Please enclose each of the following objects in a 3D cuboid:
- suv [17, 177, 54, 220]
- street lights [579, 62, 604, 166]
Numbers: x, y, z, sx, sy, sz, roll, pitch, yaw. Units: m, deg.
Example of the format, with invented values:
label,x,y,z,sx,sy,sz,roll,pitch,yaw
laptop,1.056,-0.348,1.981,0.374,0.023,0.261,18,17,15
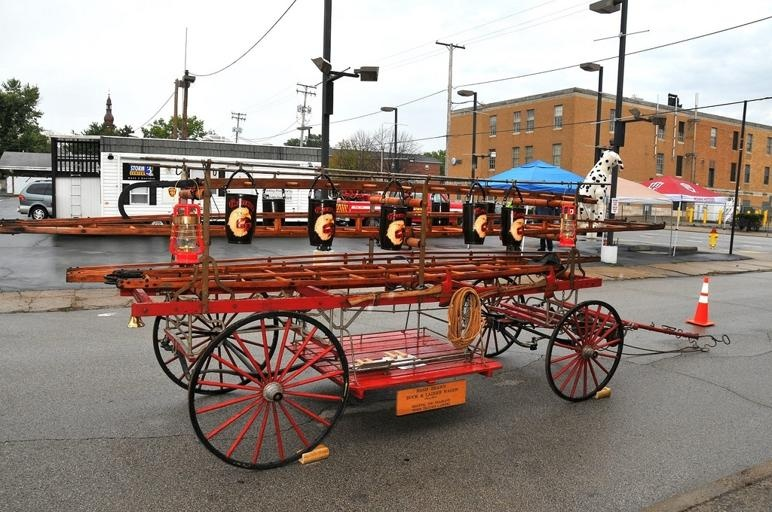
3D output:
label,x,y,z,sx,sy,sz,roll,pitch,yaw
suv,-15.945,-2.511,30.125,1.291,1.690,1.930,-3,11,-29
street lights,8.621,-6.308,27.835,0.930,3.413,0.486,-3,5,-24
